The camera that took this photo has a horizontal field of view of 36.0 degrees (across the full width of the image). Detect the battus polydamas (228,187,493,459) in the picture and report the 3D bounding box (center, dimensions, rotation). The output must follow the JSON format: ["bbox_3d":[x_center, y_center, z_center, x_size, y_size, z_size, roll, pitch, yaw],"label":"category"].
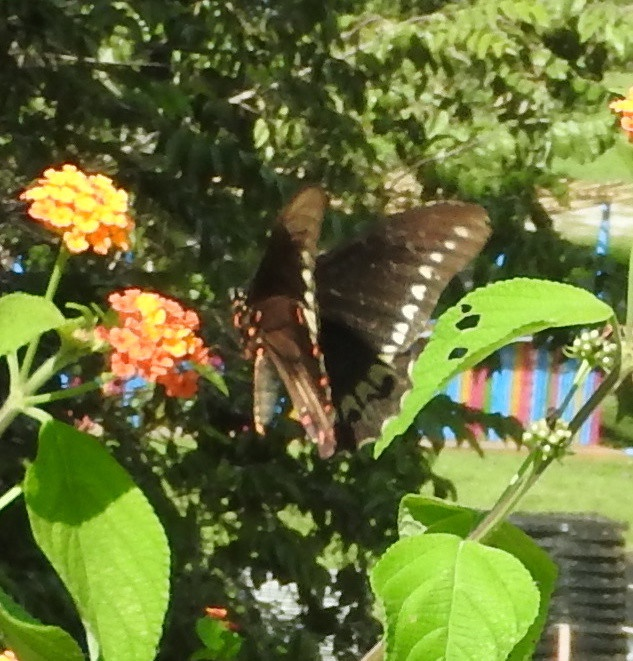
[{"bbox_3d":[0.048,-0.011,1.401,0.226,0.393,0.254,-8,20,-36],"label":"battus polydamas"}]

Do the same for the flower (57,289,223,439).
[{"bbox_3d":[-0.255,0.032,1.329,0.205,0.166,0.085,14,-31,-5],"label":"flower"}]

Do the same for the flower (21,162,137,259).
[{"bbox_3d":[-0.309,-0.160,1.269,0.128,0.108,0.136,0,14,-13],"label":"flower"}]
